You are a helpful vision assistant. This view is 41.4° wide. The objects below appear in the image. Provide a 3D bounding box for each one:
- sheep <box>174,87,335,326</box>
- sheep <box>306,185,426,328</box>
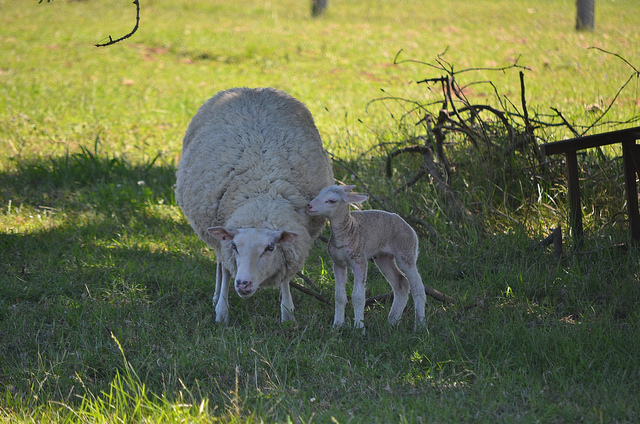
[{"bbox_3d":[-0.883,-0.372,11.344,1.635,2.470,3.410,-1,30,0],"label":"sheep"},{"bbox_3d":[0.625,0.598,11.182,2.023,1.883,0.771,3,0,-43],"label":"sheep"}]
